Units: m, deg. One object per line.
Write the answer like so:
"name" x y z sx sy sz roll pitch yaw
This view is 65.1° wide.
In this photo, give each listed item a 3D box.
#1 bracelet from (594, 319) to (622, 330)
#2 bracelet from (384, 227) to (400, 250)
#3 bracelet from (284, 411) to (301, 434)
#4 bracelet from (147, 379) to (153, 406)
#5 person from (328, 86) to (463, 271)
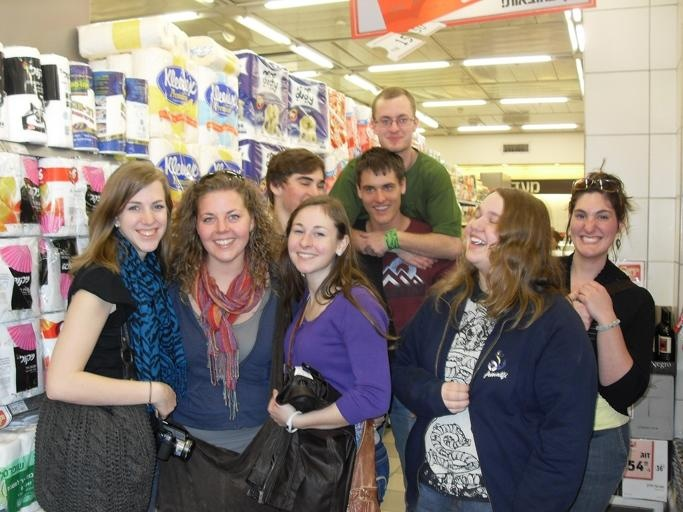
"bracelet" 1.144 0.296 2.295 0.067 0.019 0.069 -13 18 41
"bracelet" 0.297 -0.105 3.124 0.051 0.086 0.109 -3 -24 -1
"bracelet" -0.200 0.669 2.147 0.061 0.088 0.044 11 -4 39
"bracelet" -0.783 0.577 2.216 0.021 0.076 0.075 -1 -6 -7
"person" 0.338 -0.521 3.397 0.813 1.126 0.635 6 21 21
